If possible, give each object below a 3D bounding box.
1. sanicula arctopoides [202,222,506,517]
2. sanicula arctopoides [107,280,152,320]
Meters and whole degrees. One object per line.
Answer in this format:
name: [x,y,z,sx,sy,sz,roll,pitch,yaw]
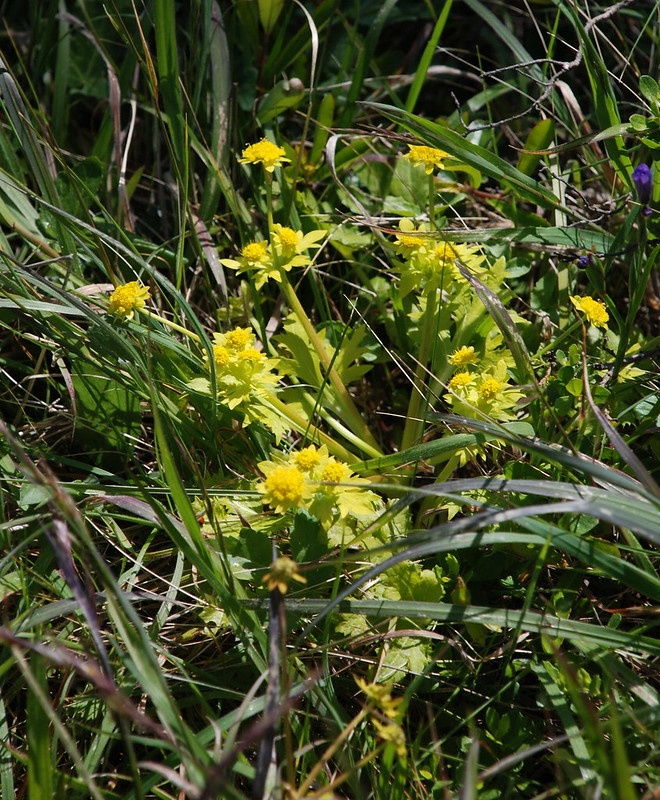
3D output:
sanicula arctopoides: [0.053,-0.050,1.468,0.697,0.311,0.575,-6,100,-3]
sanicula arctopoides: [-0.362,-0.189,1.372,0.078,0.032,0.074,-4,45,39]
